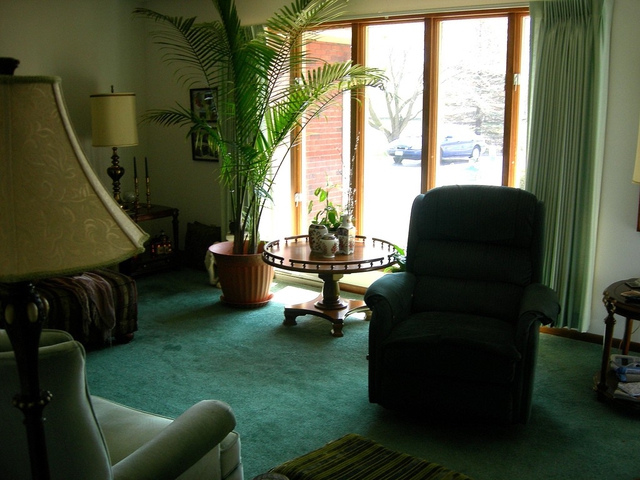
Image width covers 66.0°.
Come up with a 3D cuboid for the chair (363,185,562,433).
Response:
[{"bbox_3d":[0.776,0.281,3.348,1.238,1.409,1.442,4,13,27],"label":"chair"}]

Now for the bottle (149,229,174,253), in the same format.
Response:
[{"bbox_3d":[-1.886,-0.005,5.834,0.282,0.273,0.278,3,5,28],"label":"bottle"}]

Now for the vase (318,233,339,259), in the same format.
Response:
[{"bbox_3d":[0.055,0.033,3.987,0.190,0.193,0.178,-4,12,-9],"label":"vase"}]

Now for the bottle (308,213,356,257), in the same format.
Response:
[{"bbox_3d":[0.105,-0.032,4.034,0.401,0.381,0.271,3,6,11],"label":"bottle"}]
